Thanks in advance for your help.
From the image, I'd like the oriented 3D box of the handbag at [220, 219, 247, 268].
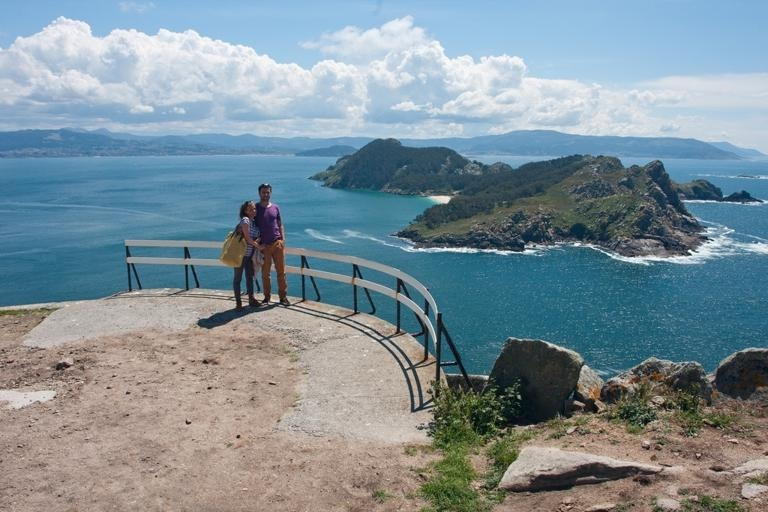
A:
[{"bbox_3d":[-4.047,-0.274,14.475,0.555,1.203,0.628,-6,17,-38],"label":"handbag"}]
